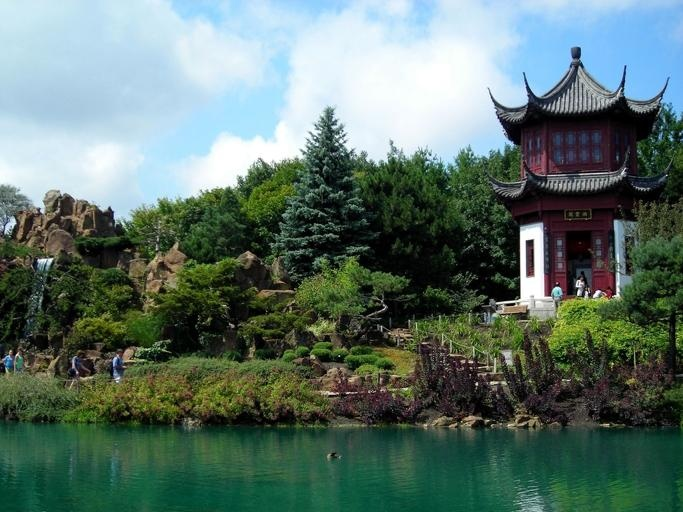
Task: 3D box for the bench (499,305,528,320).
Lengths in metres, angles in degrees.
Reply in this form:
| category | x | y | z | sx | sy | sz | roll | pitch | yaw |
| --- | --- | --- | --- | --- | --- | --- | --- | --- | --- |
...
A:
| category | x | y | z | sx | sy | sz | roll | pitch | yaw |
| --- | --- | --- | --- | --- | --- | --- | --- | --- | --- |
| bench | 9.899 | 3.191 | 38.858 | 1.471 | 0.764 | 0.734 | -6 | 0 | 44 |
